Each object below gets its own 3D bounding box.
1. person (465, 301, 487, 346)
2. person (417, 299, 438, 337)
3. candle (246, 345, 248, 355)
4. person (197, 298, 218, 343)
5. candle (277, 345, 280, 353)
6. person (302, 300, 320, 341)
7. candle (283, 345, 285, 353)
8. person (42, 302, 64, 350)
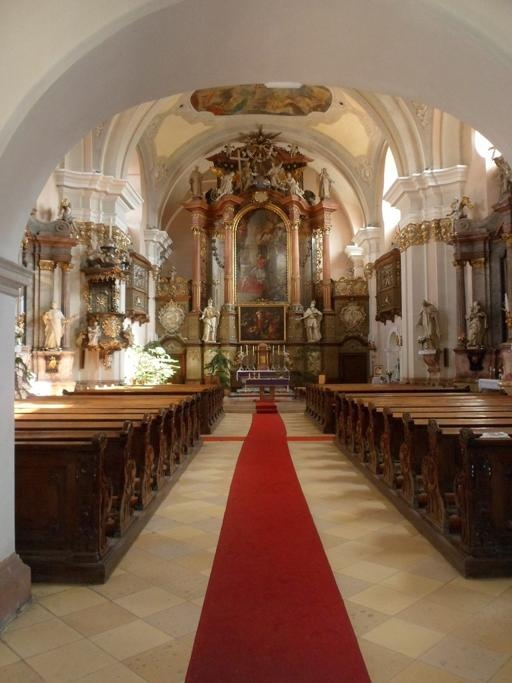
[{"bbox_3d":[4.369,-0.334,10.724,0.385,0.919,0.379,-3,-2,30],"label":"person"},{"bbox_3d":[3.927,-0.491,12.348,0.446,0.883,0.426,-3,-2,21],"label":"person"},{"bbox_3d":[-0.310,0.313,19.096,0.104,0.331,0.105,-2,-2,0],"label":"candle"},{"bbox_3d":[-1.646,-0.663,18.891,0.620,1.491,0.492,-2,-2,-9],"label":"person"},{"bbox_3d":[0.788,0.289,19.069,0.116,0.285,0.180,-2,-2,6],"label":"candle"},{"bbox_3d":[1.980,-0.673,19.074,0.669,1.469,0.363,-2,-2,8],"label":"person"},{"bbox_3d":[0.987,0.276,19.077,0.118,0.261,0.203,-2,-2,-1],"label":"candle"},{"bbox_3d":[-3.807,-0.271,10.120,0.399,0.857,0.330,-1,-2,-20],"label":"person"}]
